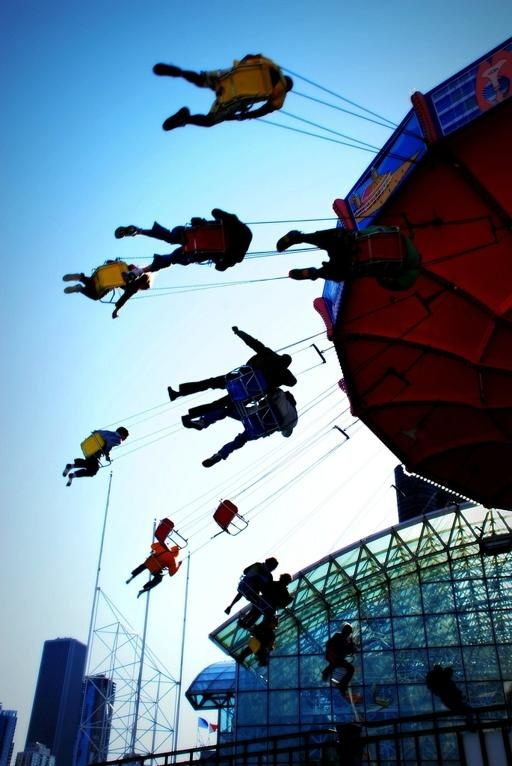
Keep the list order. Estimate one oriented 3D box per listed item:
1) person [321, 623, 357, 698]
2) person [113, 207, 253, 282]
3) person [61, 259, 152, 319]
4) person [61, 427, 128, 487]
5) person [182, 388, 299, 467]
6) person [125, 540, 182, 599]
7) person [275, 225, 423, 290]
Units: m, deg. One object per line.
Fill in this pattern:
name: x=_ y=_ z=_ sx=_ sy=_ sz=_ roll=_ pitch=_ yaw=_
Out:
person: x=2.047 y=6.691 z=16.974 sx=0.848 sy=1.719 sz=0.700 roll=6 pitch=5 yaw=-11
person: x=-1.221 y=-2.369 z=12.249 sx=2.346 sy=0.666 sz=1.209 roll=2 pitch=-25 yaw=12
person: x=-2.614 y=-1.787 z=12.749 sx=1.601 sy=0.417 sz=1.162 roll=-9 pitch=-12 yaw=-21
person: x=-3.628 y=1.465 z=15.106 sx=1.209 sy=1.215 sz=0.996 roll=-9 pitch=-31 yaw=10
person: x=-0.156 y=0.882 z=14.052 sx=2.493 sy=1.425 sz=0.739 roll=-21 pitch=16 yaw=1
person: x=-2.860 y=5.403 z=20.147 sx=1.083 sy=1.440 sz=1.993 roll=2 pitch=-30 yaw=-7
person: x=1.740 y=-2.689 z=13.656 sx=2.307 sy=0.849 sz=1.281 roll=4 pitch=11 yaw=17
